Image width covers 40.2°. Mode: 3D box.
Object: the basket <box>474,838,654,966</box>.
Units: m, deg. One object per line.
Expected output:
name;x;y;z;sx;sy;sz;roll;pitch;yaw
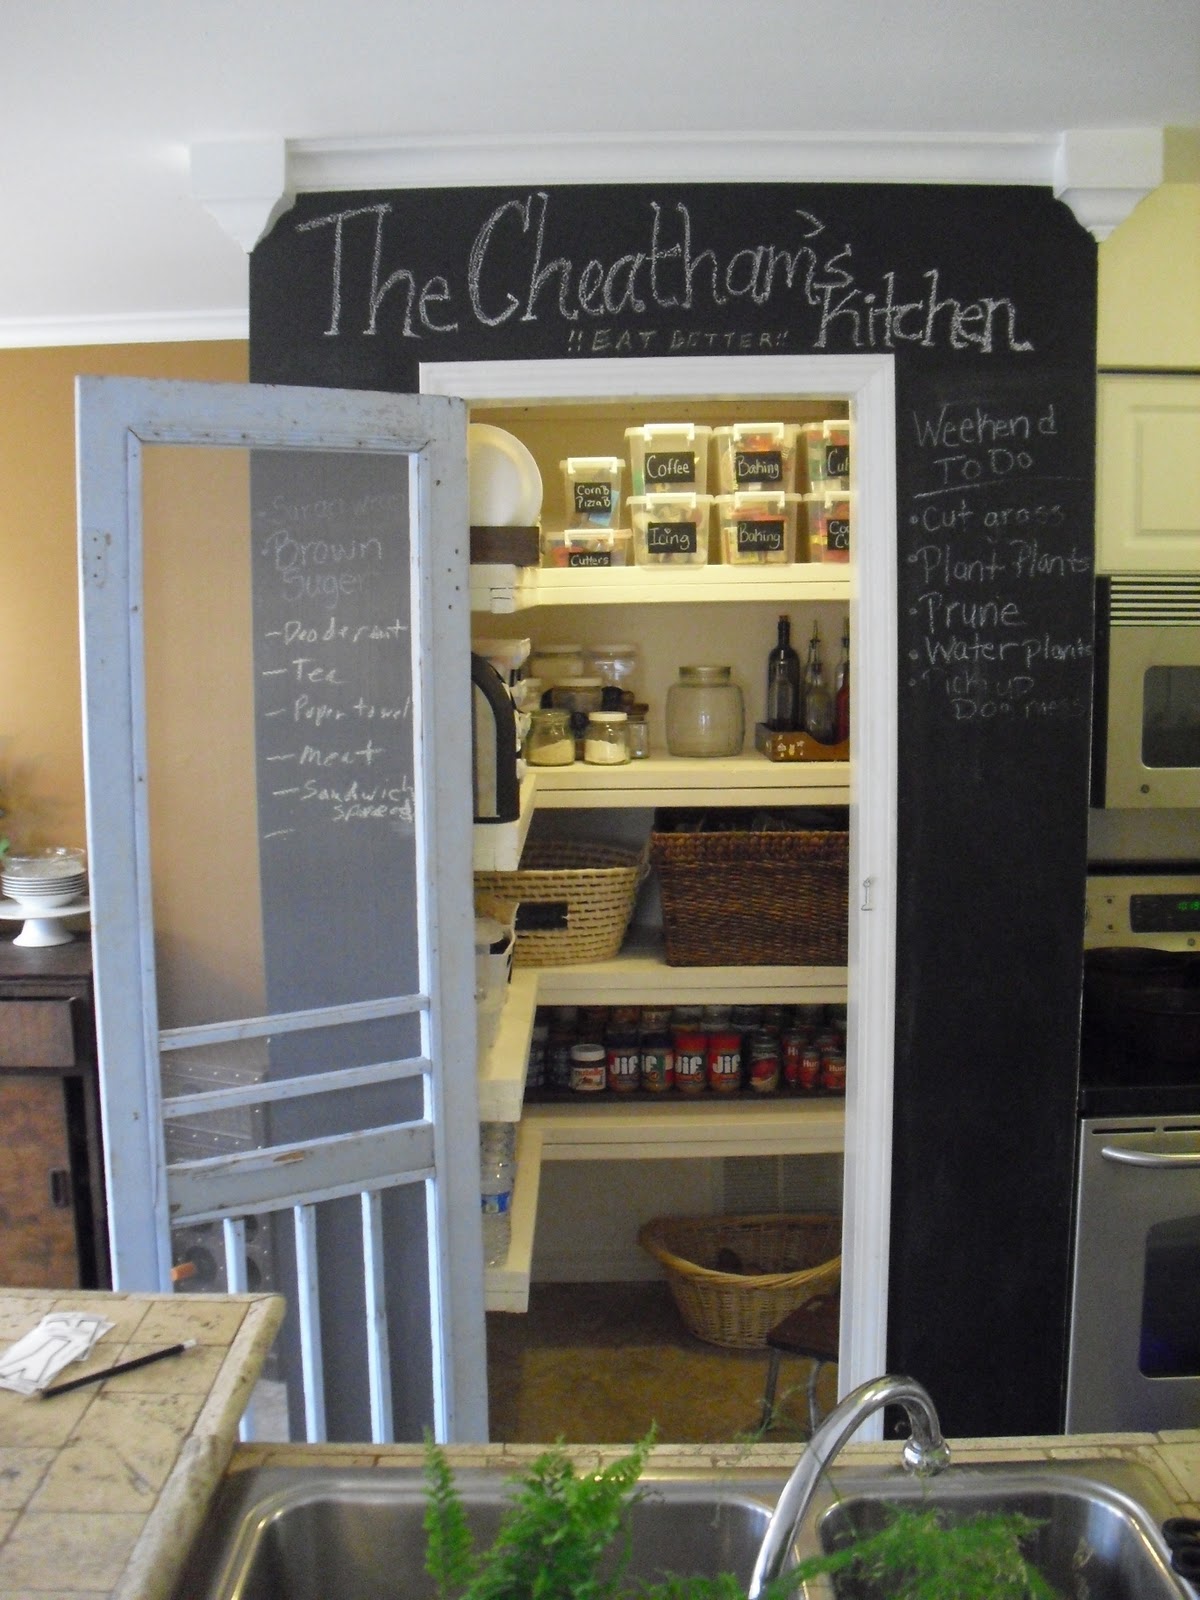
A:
basket;-0.077;0.229;3.472;0.328;0.218;0.584;0;5;9

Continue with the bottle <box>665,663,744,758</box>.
bottle;0.225;-0.190;3.550;0.191;0.206;0.187;0;1;-8

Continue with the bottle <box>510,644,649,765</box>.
bottle;-0.053;-0.211;3.561;0.293;0.263;0.267;-2;2;-20

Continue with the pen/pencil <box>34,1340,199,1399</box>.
pen/pencil;-0.475;0.557;1.603;0.114;0.012;0.013;-13;2;-38

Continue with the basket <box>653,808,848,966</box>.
basket;0.318;0.181;3.440;0.343;0.213;0.340;0;5;-2
